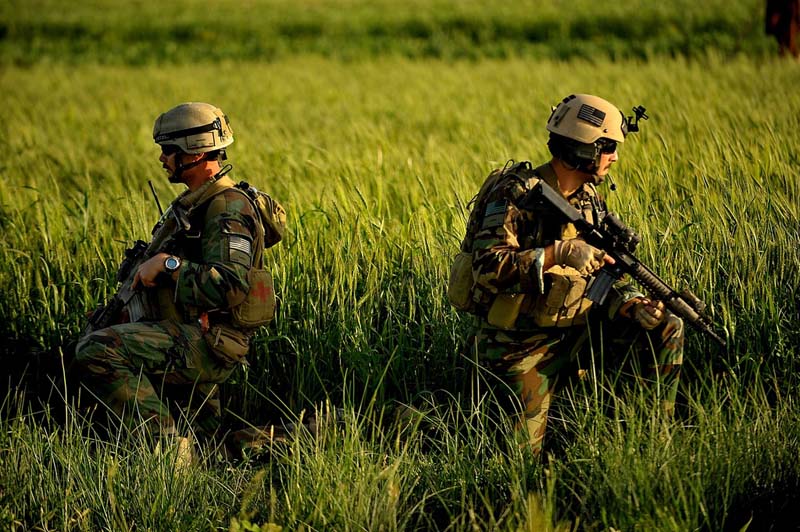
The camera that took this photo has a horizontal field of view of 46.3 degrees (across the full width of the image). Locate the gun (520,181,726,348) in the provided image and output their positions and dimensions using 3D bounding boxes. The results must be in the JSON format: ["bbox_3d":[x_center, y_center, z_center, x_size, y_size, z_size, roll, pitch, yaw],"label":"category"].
[{"bbox_3d":[1.589,0.036,6.734,1.593,0.587,0.221,41,5,-3],"label":"gun"}]

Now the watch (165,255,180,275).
[{"bbox_3d":[-1.530,-0.011,6.301,0.072,0.115,0.112,34,-19,-10],"label":"watch"}]

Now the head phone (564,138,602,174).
[{"bbox_3d":[1.251,-0.752,6.448,0.219,0.181,0.180,12,-14,40],"label":"head phone"}]

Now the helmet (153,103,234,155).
[{"bbox_3d":[-1.450,-0.981,6.519,0.426,0.285,0.344,-12,16,-15],"label":"helmet"}]

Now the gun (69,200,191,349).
[{"bbox_3d":[-1.934,0.273,6.672,0.111,1.630,0.613,20,30,-43],"label":"gun"}]
